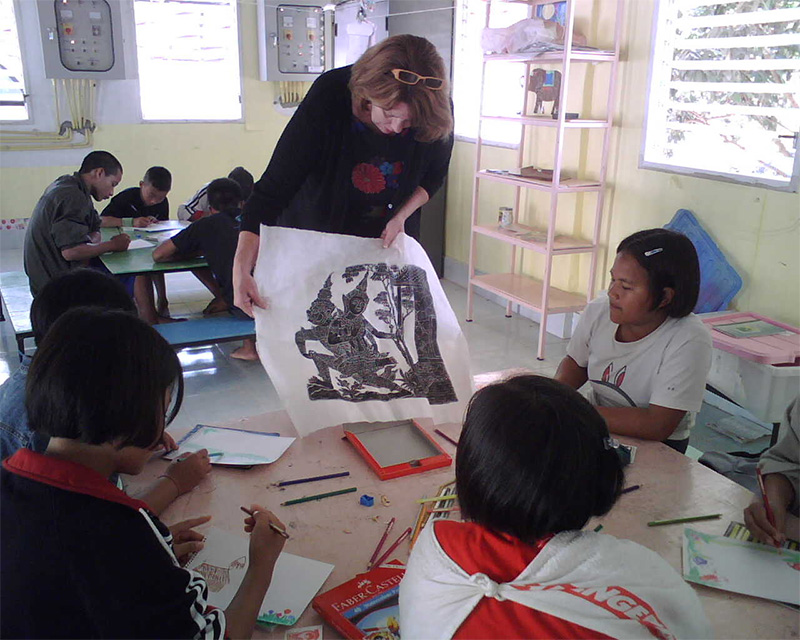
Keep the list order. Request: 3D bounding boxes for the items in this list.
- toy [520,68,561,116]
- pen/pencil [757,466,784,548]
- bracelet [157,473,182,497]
[{"bbox_3d":[0.925,-1.436,3.774,0.126,0.303,0.391,-5,20,-12],"label":"toy"},{"bbox_3d":[0.765,0.388,1.230,0.017,0.018,0.160,21,36,4],"label":"pen/pencil"},{"bbox_3d":[-0.472,0.336,1.230,0.034,0.037,0.035,16,21,42],"label":"bracelet"}]
